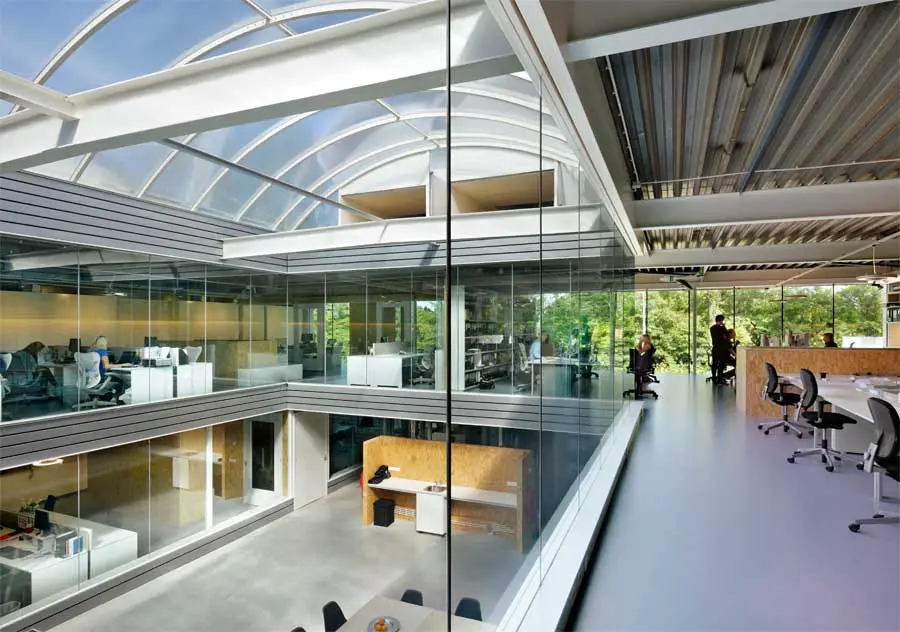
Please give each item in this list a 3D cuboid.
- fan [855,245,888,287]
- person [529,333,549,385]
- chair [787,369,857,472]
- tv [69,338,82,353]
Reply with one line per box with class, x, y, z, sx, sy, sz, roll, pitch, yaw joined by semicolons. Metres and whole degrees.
fan;11.793;-1.465;17.711;1.021;0.914;0.962;-1;-1;-37
person;1.069;0.541;7.662;0.227;0.678;0.393;2;9;10
chair;6.557;1.658;11.075;0.878;1.417;2.496;6;9;33
tv;-7.187;0.561;12.136;0.066;0.217;0.253;8;-25;22
